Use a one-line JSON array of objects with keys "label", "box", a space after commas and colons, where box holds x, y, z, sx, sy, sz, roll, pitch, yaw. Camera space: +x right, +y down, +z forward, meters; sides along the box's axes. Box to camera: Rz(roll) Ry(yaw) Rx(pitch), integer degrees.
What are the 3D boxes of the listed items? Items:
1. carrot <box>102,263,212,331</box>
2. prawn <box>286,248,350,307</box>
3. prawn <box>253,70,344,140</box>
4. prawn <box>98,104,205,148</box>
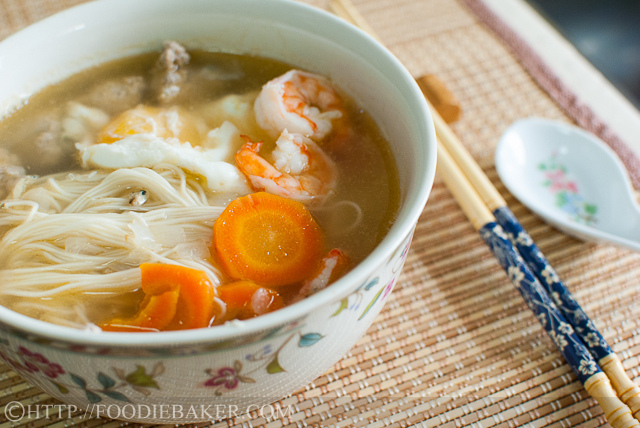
[{"label": "carrot", "box": [-0.404, 0.211, 1.520, 0.248, 0.102, 0.163, 6, 64, -12]}, {"label": "prawn", "box": [0.008, 0.143, 1.669, 0.088, 0.344, 0.111, 17, 100, 28]}, {"label": "prawn", "box": [-0.065, -0.341, 1.897, 0.237, 0.089, 0.224, -31, 77, -17]}, {"label": "prawn", "box": [-0.523, -0.307, 1.870, 0.313, 0.227, 0.141, -5, 106, -6]}]
